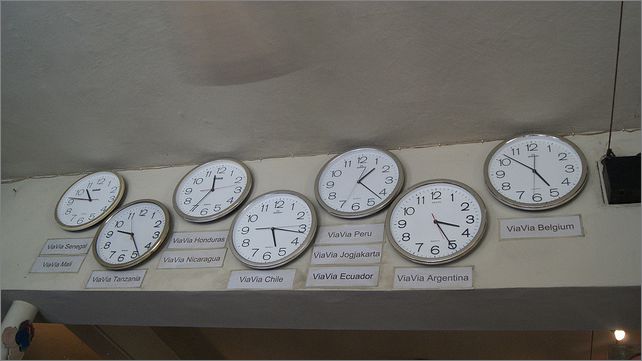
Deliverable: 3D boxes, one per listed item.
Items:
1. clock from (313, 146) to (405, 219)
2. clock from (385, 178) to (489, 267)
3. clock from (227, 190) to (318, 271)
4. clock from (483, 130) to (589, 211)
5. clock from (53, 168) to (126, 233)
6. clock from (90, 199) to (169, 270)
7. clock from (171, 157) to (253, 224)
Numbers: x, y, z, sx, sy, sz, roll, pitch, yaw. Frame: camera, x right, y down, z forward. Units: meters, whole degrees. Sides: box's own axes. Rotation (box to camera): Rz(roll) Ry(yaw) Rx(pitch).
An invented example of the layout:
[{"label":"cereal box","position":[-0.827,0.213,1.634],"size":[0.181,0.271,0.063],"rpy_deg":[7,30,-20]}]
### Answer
[{"label":"clock","position":[0.317,0.024,6.858],"size":[0.803,0.611,0.064],"rpy_deg":[-4,-28,25]},{"label":"clock","position":[0.947,0.360,6.530],"size":[0.947,0.728,0.065],"rpy_deg":[-2,-33,10]},{"label":"clock","position":[-0.403,0.405,6.783],"size":[0.865,0.669,0.053],"rpy_deg":[-5,-26,30]},{"label":"clock","position":[1.751,-0.055,6.573],"size":[0.846,0.662,0.057],"rpy_deg":[-6,-37,7]},{"label":"clock","position":[-2.077,0.182,7.304],"size":[0.743,0.591,0.063],"rpy_deg":[-13,-41,22]},{"label":"clock","position":[-1.629,0.473,6.998],"size":[0.048,0.628,0.779],"rpy_deg":[33,26,35]},{"label":"clock","position":[-0.954,0.094,7.079],"size":[0.776,0.613,0.043],"rpy_deg":[-7,-37,26]}]
